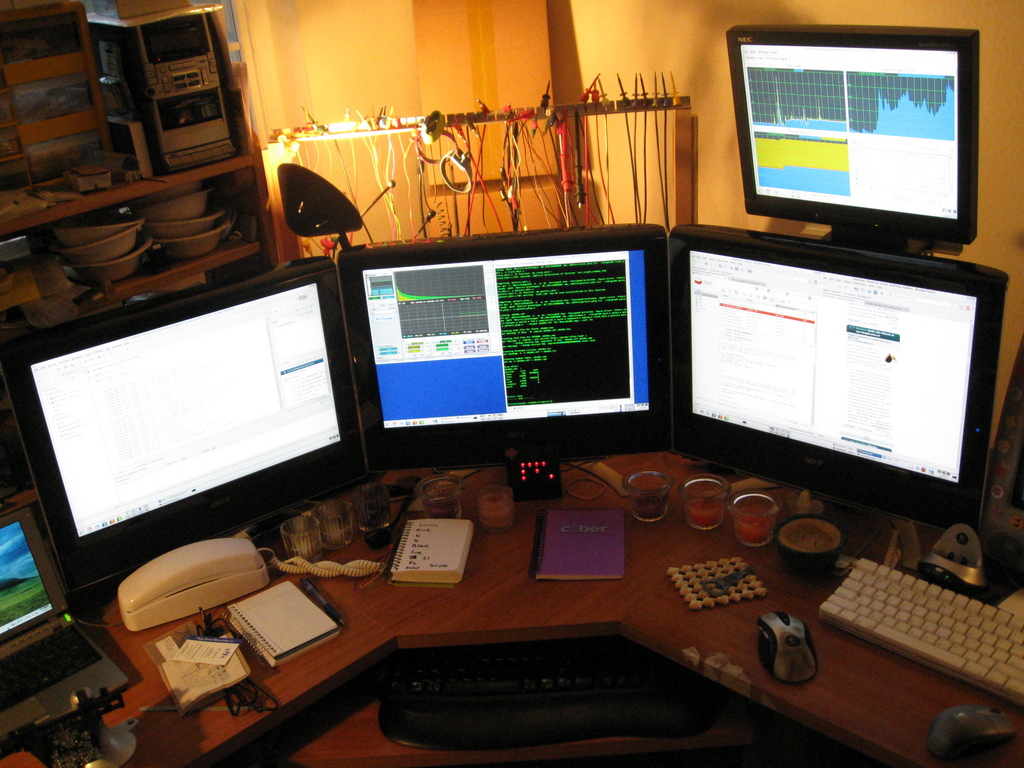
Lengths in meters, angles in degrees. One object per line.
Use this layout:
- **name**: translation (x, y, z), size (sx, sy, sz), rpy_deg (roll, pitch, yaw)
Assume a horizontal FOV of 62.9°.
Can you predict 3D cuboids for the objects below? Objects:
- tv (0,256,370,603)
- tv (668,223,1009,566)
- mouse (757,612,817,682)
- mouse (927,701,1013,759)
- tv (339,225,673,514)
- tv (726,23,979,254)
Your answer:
- **tv**: translation (-0.713, 0.121, 1.839), size (0.628, 0.513, 0.200), rpy_deg (-24, 27, -25)
- **tv**: translation (0.687, 0.026, 1.757), size (0.653, 0.521, 0.213), rpy_deg (12, 26, 31)
- **mouse**: translation (0.520, 0.478, 1.597), size (0.109, 0.057, 0.175), rpy_deg (-6, 24, 6)
- **mouse**: translation (0.765, 0.571, 1.404), size (0.123, 0.042, 0.074), rpy_deg (-19, 32, -11)
- **tv**: translation (-0.009, -0.037, 1.942), size (0.676, 0.487, 0.089), rpy_deg (-5, 16, 0)
- **tv**: translation (0.740, -0.530, 1.792), size (0.516, 0.441, 0.172), rpy_deg (15, 43, 38)
